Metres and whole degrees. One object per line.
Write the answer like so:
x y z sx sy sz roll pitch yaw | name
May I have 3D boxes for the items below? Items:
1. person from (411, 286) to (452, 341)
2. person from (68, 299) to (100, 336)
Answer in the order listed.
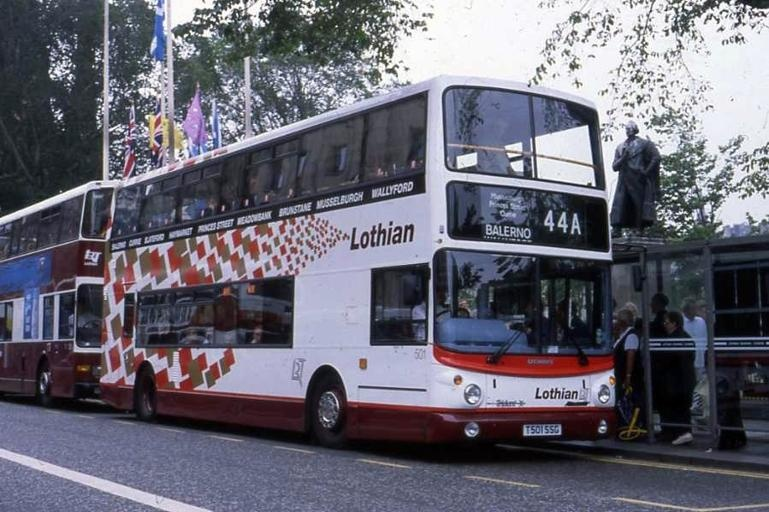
0.681 0.935 11.411 0.195 0.872 0.752 7 -10 -43 | person
-8.772 1.801 21.418 0.726 1.723 0.244 3 -8 -26 | person
